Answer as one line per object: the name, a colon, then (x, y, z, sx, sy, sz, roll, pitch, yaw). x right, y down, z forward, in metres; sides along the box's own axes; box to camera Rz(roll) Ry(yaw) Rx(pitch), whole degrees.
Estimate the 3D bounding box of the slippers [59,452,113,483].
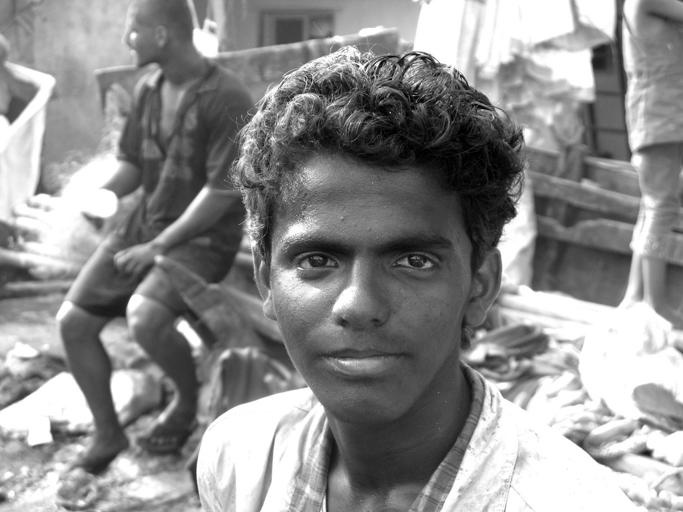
slippers: (-1.610, 1.324, 6.702, 0.345, 0.163, 0.037, 0, 7, -17)
